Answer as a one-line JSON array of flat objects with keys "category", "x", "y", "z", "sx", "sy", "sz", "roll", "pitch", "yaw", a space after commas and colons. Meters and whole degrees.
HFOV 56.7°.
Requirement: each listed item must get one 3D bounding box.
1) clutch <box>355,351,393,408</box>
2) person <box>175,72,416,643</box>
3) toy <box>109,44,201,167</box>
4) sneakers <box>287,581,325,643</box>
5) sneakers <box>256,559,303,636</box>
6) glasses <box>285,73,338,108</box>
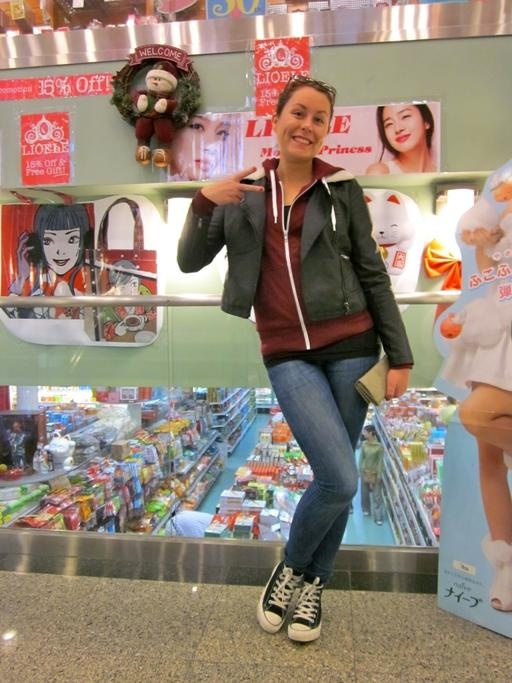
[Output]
[{"category": "clutch", "x": 0.317, "y": 0.100, "z": 1.180, "sx": 0.126, "sy": 0.091, "sz": 0.037, "roll": -38, "pitch": 1, "yaw": -21}, {"category": "person", "x": 0.105, "y": 0.076, "z": 1.233, "sx": 0.569, "sy": 1.433, "sz": 0.293, "roll": 1, "pitch": -2, "yaw": -22}, {"category": "toy", "x": -0.405, "y": -1.007, "z": 1.996, "sx": 0.517, "sy": 0.590, "sz": 0.146, "roll": 2, "pitch": 6, "yaw": 3}, {"category": "sneakers", "x": 0.139, "y": 0.713, "z": 1.240, "sx": 0.062, "sy": 0.086, "sz": 0.188, "roll": 0, "pitch": -16, "yaw": 11}, {"category": "sneakers", "x": 0.082, "y": 0.712, "z": 1.298, "sx": 0.076, "sy": 0.110, "sz": 0.247, "roll": 33, "pitch": 16, "yaw": -3}, {"category": "glasses", "x": 0.126, "y": -0.612, "z": 1.160, "sx": 0.132, "sy": 0.084, "sz": 0.089, "roll": 0, "pitch": -1, "yaw": 2}]
